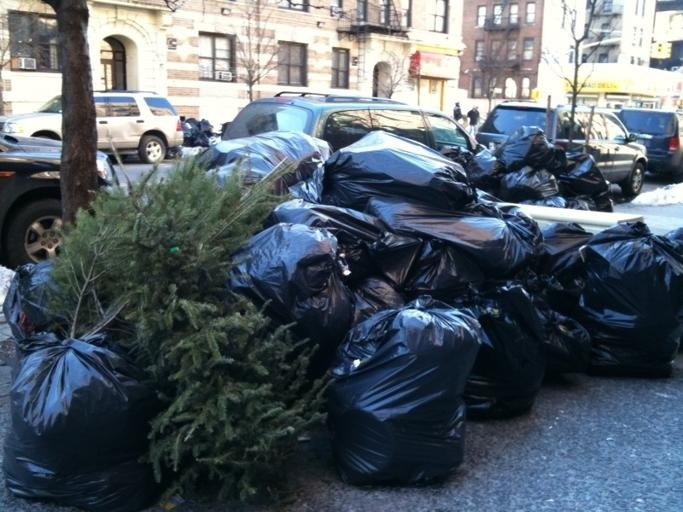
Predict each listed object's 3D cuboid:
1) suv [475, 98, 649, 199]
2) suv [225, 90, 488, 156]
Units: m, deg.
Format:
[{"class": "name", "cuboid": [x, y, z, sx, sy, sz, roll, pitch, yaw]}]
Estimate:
[{"class": "suv", "cuboid": [4.529, -2.163, 14.811, 3.838, 1.585, 1.851, -9, 15, -38]}, {"class": "suv", "cuboid": [0.218, -1.532, 8.499, 1.959, 0.913, 1.220, -10, 17, -28]}]
